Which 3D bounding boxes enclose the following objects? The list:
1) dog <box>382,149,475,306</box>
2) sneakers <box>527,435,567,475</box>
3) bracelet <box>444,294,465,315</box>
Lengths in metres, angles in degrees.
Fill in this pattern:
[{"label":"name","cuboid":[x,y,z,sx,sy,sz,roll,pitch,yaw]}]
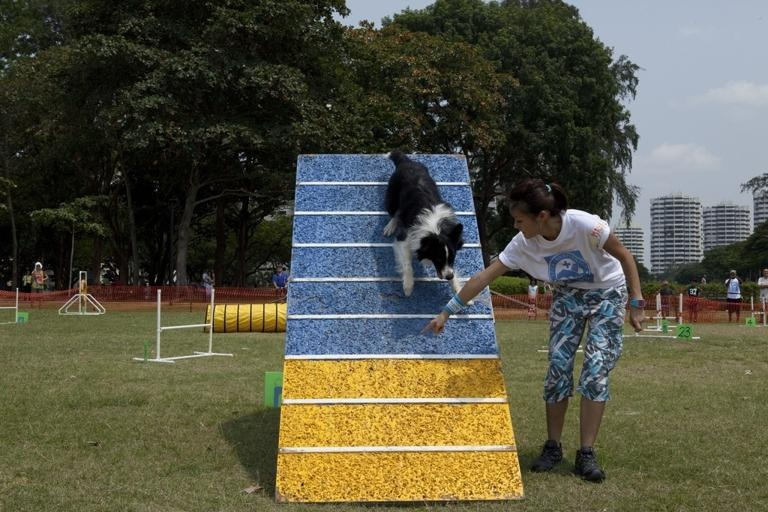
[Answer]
[{"label":"dog","cuboid":[0.587,-0.375,9.186,1.045,2.654,0.825,-27,46,-8]},{"label":"sneakers","cuboid":[1.969,2.371,7.928,0.209,0.272,0.592,2,3,40]},{"label":"bracelet","cuboid":[0.832,0.568,7.794,0.243,0.275,0.167,2,8,8]}]
